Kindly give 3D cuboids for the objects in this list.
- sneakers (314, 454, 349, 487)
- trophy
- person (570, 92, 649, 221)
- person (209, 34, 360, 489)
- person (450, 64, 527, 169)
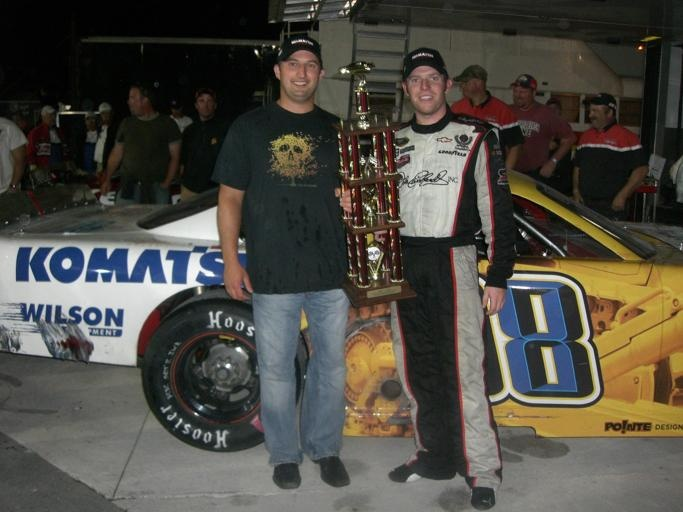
[{"bbox_3d":[-0.047,1.237,3.659,0.097,0.096,0.217,-1,2,-25],"label":"sneakers"},{"bbox_3d":[0.174,-0.385,3.482,0.354,1.262,0.435,-4,6,9],"label":"trophy"},{"bbox_3d":[2.626,-0.934,6.310,0.561,1.275,0.684,1,14,-11],"label":"person"},{"bbox_3d":[-0.330,0.074,3.818,0.783,2.513,0.824,0,3,-5],"label":"person"},{"bbox_3d":[1.421,-1.375,6.234,0.666,1.409,0.711,-3,12,-28],"label":"person"}]
